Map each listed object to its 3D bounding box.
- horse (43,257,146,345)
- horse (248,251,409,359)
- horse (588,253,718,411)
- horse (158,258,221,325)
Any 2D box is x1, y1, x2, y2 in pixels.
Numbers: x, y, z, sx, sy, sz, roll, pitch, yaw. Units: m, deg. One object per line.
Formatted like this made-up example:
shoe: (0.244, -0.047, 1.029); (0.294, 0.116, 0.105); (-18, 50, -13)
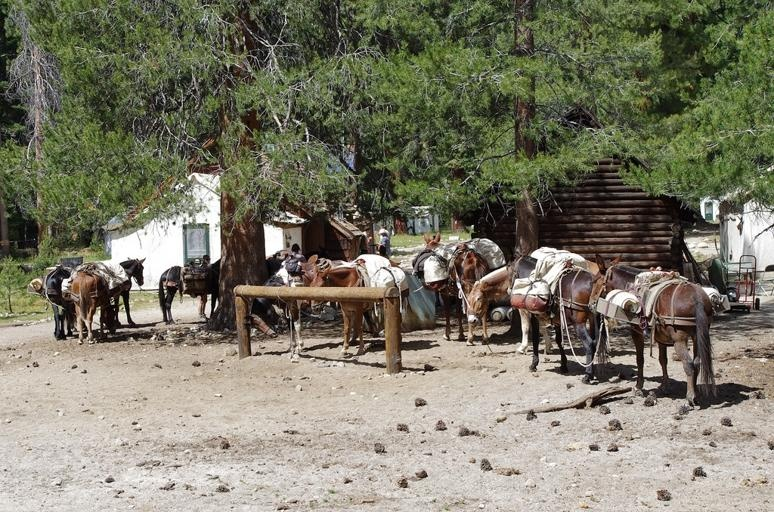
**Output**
horse: (-9.369, 1.385, 22.916); (2.813, 2.575, 2.968); (-8, 9, -37)
horse: (-1.050, 1.318, 18.790); (2.986, 2.651, 2.872); (-4, 7, -6)
horse: (5.299, 1.388, 14.182); (1.063, 2.696, 3.350); (-3, 2, -16)
horse: (-6.782, 1.155, 25.145); (2.555, 2.343, 0.808); (-1, 7, -27)
